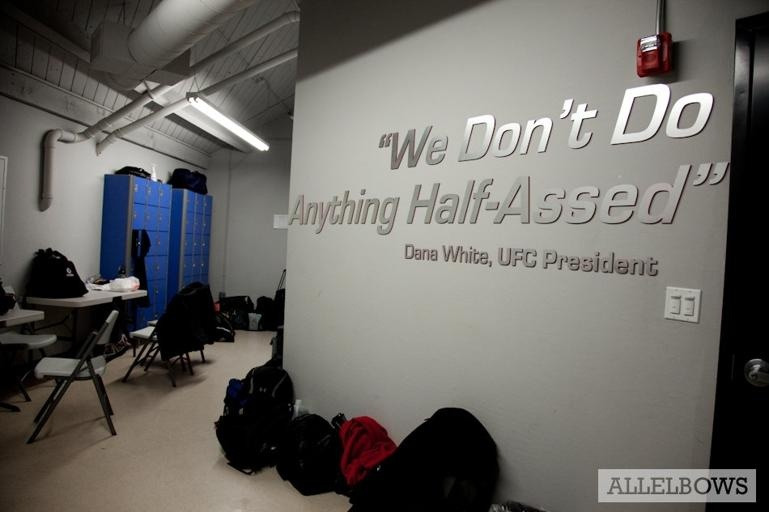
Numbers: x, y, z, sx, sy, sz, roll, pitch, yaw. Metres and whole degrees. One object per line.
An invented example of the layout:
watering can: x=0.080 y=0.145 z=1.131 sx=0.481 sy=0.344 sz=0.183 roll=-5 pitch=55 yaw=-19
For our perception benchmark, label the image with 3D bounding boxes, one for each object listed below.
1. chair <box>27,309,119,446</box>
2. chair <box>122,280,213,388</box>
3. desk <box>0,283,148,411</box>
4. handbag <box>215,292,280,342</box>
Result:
chair: x=-3.072 y=1.157 z=5.145 sx=0.813 sy=1.140 sz=0.907 roll=3 pitch=2 yaw=21
chair: x=-2.573 y=0.862 z=6.257 sx=0.885 sy=1.125 sz=0.932 roll=1 pitch=10 yaw=-20
desk: x=-3.760 y=1.060 z=5.946 sx=0.881 sy=1.131 sz=1.717 roll=2 pitch=3 yaw=14
handbag: x=-2.167 y=0.931 z=8.557 sx=1.014 sy=0.447 sz=0.825 roll=2 pitch=1 yaw=-7
